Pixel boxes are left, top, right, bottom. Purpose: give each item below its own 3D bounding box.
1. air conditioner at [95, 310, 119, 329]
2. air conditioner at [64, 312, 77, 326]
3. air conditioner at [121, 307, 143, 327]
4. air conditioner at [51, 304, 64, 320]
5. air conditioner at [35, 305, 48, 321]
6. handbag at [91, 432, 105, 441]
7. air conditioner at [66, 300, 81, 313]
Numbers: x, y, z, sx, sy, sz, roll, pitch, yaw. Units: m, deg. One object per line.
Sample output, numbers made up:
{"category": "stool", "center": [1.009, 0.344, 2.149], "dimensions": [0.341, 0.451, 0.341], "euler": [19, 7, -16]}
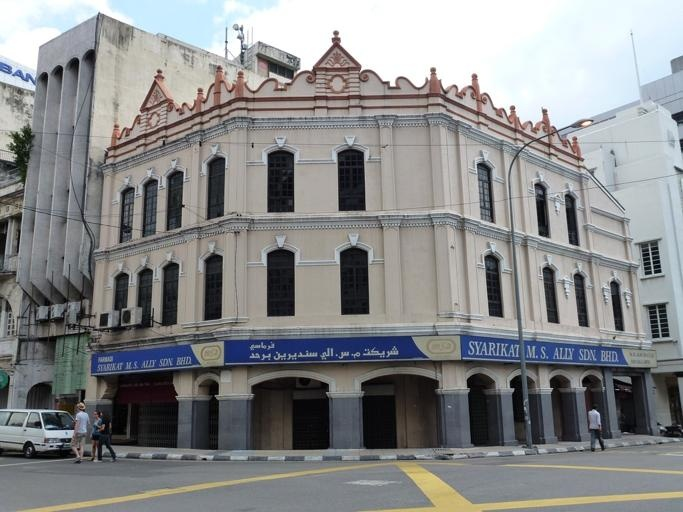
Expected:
{"category": "air conditioner", "center": [-11.099, 2.994, 32.663], "dimensions": [1.090, 0.766, 0.381], "euler": [-12, -19, 31]}
{"category": "air conditioner", "center": [-13.843, 3.241, 35.248], "dimensions": [0.610, 0.712, 0.813], "euler": [12, -18, -37]}
{"category": "air conditioner", "center": [-9.779, 2.819, 31.922], "dimensions": [0.902, 0.719, 0.464], "euler": [-8, -14, 30]}
{"category": "air conditioner", "center": [-15.034, 2.915, 36.208], "dimensions": [0.805, 0.694, 0.419], "euler": [-9, -21, 27]}
{"category": "air conditioner", "center": [-16.122, 3.010, 36.956], "dimensions": [0.578, 0.707, 0.886], "euler": [6, -18, -25]}
{"category": "handbag", "center": [-9.052, 6.634, 25.443], "dimensions": [0.356, 0.287, 0.330], "euler": [-1, -7, 4]}
{"category": "air conditioner", "center": [-13.784, 2.660, 35.273], "dimensions": [0.693, 0.813, 0.433], "euler": [-3, -17, 3]}
